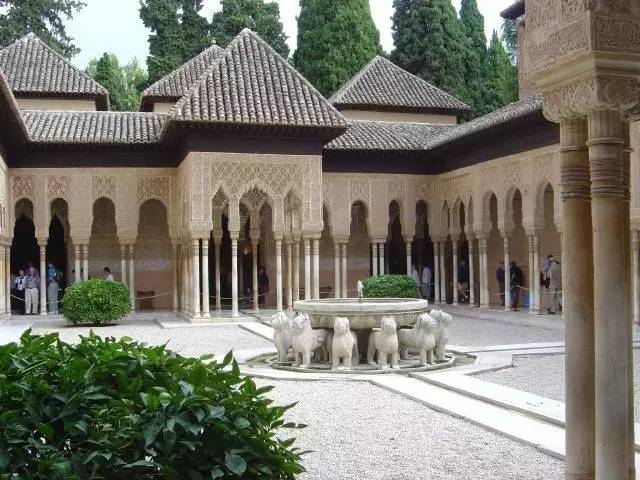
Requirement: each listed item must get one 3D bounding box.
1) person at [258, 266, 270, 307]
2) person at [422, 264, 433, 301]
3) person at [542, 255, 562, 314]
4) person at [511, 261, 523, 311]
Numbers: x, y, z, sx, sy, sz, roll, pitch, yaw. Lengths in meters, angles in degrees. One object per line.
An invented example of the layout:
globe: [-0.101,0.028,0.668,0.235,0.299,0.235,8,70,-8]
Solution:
person: [-1.807,1.500,22.954,0.347,1.255,1.141,-1,-1,-5]
person: [3.591,1.473,24.203,0.362,1.180,1.568,-1,-1,8]
person: [5.991,1.129,18.496,0.413,1.458,1.629,-1,-1,17]
person: [5.496,1.278,20.154,0.317,1.319,2.201,-1,-1,16]
